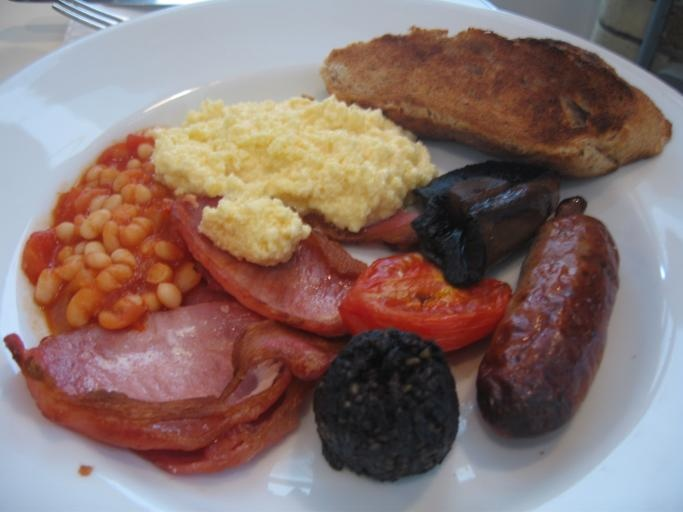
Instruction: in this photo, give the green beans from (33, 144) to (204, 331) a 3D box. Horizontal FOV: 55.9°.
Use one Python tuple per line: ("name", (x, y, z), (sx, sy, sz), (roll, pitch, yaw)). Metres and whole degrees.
("green beans", (-0.716, -0.076, 1.990), (0.457, 0.105, 0.552), (13, 67, -2))
